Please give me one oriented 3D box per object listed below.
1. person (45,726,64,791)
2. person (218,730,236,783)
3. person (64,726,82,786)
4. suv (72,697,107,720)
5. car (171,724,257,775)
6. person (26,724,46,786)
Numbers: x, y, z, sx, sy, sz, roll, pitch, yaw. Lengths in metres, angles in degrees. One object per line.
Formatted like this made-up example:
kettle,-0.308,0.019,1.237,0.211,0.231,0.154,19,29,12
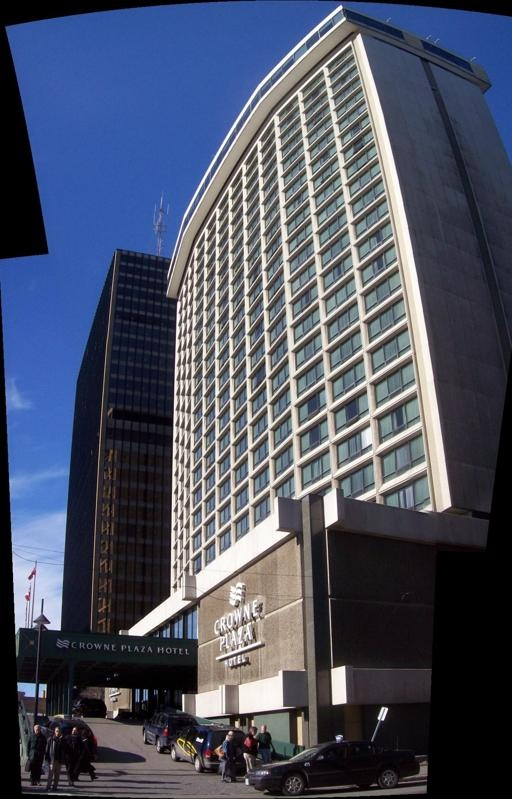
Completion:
person,-5.157,9.406,18.675,0.392,1.529,1.218,2,-18,-15
person,-0.814,10.529,21.008,0.364,1.302,0.748,0,-17,-7
person,-4.864,9.785,19.449,0.403,1.316,2.025,2,-19,-13
suv,-11.206,21.044,49.256,1.306,1.270,3.471,6,-22,-11
car,-1.531,11.863,24.285,1.472,1.310,3.395,13,-37,-15
person,-5.637,9.389,18.821,0.407,1.501,0.908,3,-18,-17
